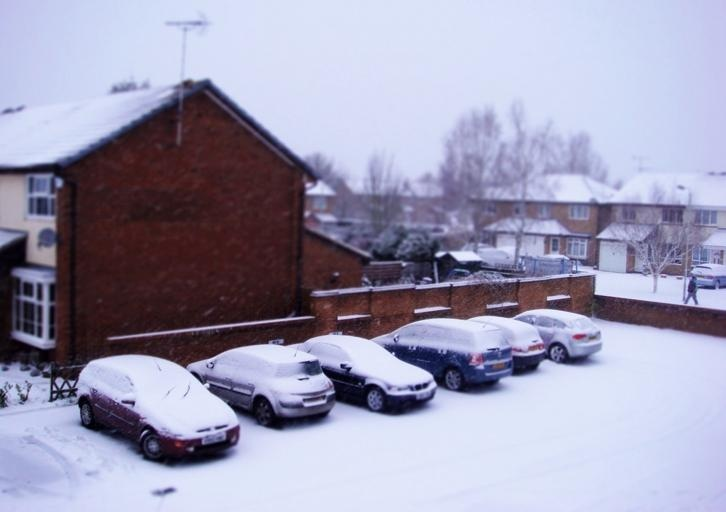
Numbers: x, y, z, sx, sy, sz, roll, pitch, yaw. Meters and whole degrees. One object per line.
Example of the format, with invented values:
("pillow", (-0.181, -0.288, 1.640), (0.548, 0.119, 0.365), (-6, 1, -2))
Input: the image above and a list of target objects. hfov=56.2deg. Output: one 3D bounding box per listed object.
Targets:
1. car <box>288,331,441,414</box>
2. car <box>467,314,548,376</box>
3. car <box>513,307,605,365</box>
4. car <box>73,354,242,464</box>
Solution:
("car", (0.009, 2.904, 17.464), (3.057, 1.122, 1.523), (6, 7, 39))
("car", (4.251, 2.606, 20.433), (1.144, 1.107, 2.255), (-4, 10, -37))
("car", (6.077, 2.365, 21.505), (2.732, 1.179, 1.315), (11, 11, 43))
("car", (-4.553, 3.324, 15.103), (3.685, 1.985, 1.401), (-1, 3, 30))
